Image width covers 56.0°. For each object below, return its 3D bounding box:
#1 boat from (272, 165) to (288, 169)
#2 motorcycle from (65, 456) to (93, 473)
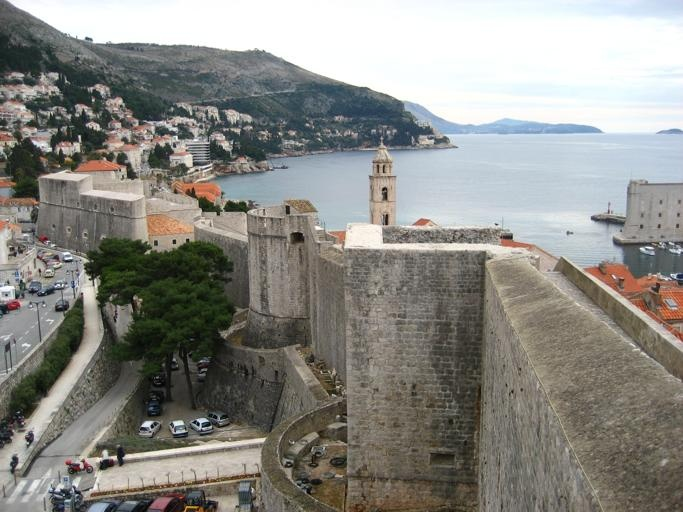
[{"bbox_3d":[-18.763,-26.776,195.150,2.881,1.284,3.884,1,4,-3],"label":"boat"},{"bbox_3d":[-9.341,7.404,22.838,1.127,0.661,0.551,1,3,-5],"label":"motorcycle"}]
